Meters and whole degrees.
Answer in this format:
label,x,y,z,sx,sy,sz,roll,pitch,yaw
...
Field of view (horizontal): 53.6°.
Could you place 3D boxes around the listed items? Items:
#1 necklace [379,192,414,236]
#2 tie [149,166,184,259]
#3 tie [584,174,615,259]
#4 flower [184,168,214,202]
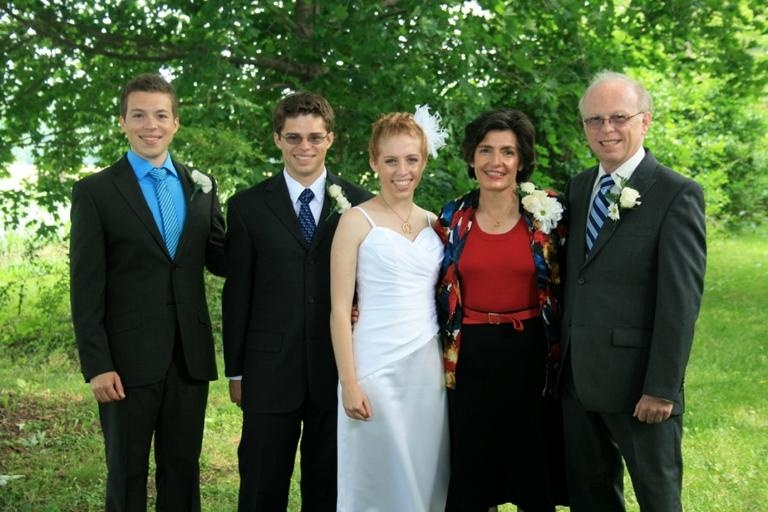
label,x,y,z,sx,sy,sz,roll,pitch,yaw
necklace,0.095,-0.315,5.791,0.218,0.333,0.084,-31,4,-38
tie,-1.655,-0.334,5.787,0.250,0.685,0.059,0,-19,-33
tie,1.592,-0.314,5.666,0.139,0.750,0.114,16,-18,13
flower,-1.457,-0.554,5.930,0.220,0.097,0.203,13,-7,28
